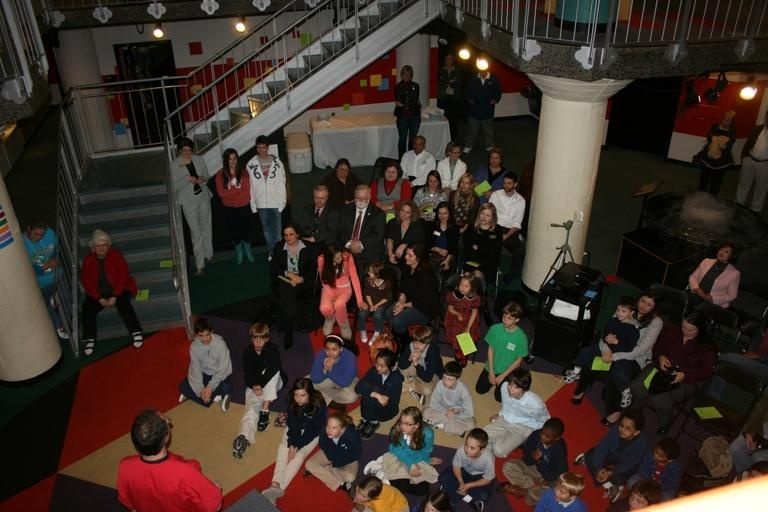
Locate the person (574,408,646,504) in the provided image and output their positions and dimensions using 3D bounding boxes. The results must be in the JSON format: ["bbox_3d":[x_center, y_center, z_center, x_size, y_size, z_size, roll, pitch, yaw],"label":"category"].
[{"bbox_3d":[3.204,2.691,7.686,0.821,1.171,0.833,-20,33,-37],"label":"person"}]

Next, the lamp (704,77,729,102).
[{"bbox_3d":[7.584,-3.781,12.397,0.331,0.545,0.611,16,28,33],"label":"lamp"}]

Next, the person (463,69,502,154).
[{"bbox_3d":[2.678,-3.938,14.822,0.867,2.199,0.523,2,22,5],"label":"person"}]

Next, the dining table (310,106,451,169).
[{"bbox_3d":[-0.240,-3.077,14.968,2.961,0.984,1.810,-8,41,-8],"label":"dining table"}]

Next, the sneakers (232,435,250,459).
[{"bbox_3d":[-2.163,2.884,8.172,0.176,0.364,0.173,19,62,-9],"label":"sneakers"}]

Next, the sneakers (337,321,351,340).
[{"bbox_3d":[-0.679,1.335,9.703,0.140,0.172,0.437,-20,54,-8],"label":"sneakers"}]

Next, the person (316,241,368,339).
[{"bbox_3d":[-0.760,0.607,9.597,0.761,1.449,1.153,-6,39,-8],"label":"person"}]

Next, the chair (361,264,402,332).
[{"bbox_3d":[-0.022,0.745,9.558,0.541,1.280,0.770,10,51,6],"label":"chair"}]

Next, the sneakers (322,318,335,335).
[{"bbox_3d":[-0.999,1.273,9.771,0.155,0.363,0.139,6,-17,5],"label":"sneakers"}]

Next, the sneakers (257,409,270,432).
[{"bbox_3d":[-1.892,2.571,8.563,0.127,0.140,0.361,5,50,-1],"label":"sneakers"}]

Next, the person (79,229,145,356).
[{"bbox_3d":[-4.996,0.660,9.725,1.022,2.097,0.855,-8,24,-19],"label":"person"}]

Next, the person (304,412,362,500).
[{"bbox_3d":[-0.686,2.704,7.725,0.717,1.075,0.762,17,37,16],"label":"person"}]

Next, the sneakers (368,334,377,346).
[{"bbox_3d":[-0.200,1.533,9.770,0.089,0.286,0.110,20,-15,5],"label":"sneakers"}]

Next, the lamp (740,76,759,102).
[{"bbox_3d":[8.594,-3.974,12.779,0.327,0.477,0.797,14,46,18],"label":"lamp"}]

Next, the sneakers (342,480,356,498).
[{"bbox_3d":[-0.493,3.317,7.698,0.062,0.154,0.216,21,46,-56],"label":"sneakers"}]

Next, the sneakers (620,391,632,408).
[{"bbox_3d":[3.763,2.232,8.451,0.087,0.155,0.259,3,52,46],"label":"sneakers"}]

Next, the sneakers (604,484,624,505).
[{"bbox_3d":[3.237,3.325,7.637,0.182,0.331,0.192,8,-11,35],"label":"sneakers"}]

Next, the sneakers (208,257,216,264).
[{"bbox_3d":[-3.744,0.104,11.769,0.115,0.130,0.091,-3,10,-1],"label":"sneakers"}]

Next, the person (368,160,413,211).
[{"bbox_3d":[0.176,-1.464,11.429,0.738,1.569,0.884,8,45,6],"label":"person"}]

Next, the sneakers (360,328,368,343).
[{"bbox_3d":[-0.357,1.459,9.797,0.101,0.109,0.277,-3,58,1],"label":"sneakers"}]

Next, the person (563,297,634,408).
[{"bbox_3d":[3.445,1.608,8.735,0.826,1.507,0.863,-27,43,-29],"label":"person"}]

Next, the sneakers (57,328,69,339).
[{"bbox_3d":[-5.803,1.393,9.806,0.272,0.121,0.102,32,45,31],"label":"sneakers"}]

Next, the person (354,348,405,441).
[{"bbox_3d":[-0.085,2.097,8.381,0.615,1.199,0.840,21,33,35],"label":"person"}]

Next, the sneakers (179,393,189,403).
[{"bbox_3d":[-3.310,2.338,8.986,0.177,0.192,0.103,1,28,-2],"label":"sneakers"}]

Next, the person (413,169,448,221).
[{"bbox_3d":[0.977,-1.155,11.032,0.669,1.071,0.559,6,28,8],"label":"person"}]

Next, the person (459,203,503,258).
[{"bbox_3d":[1.824,-0.452,10.151,0.737,1.097,0.341,5,23,10],"label":"person"}]

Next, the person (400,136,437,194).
[{"bbox_3d":[0.734,-2.021,12.132,0.681,1.235,1.117,8,36,5],"label":"person"}]

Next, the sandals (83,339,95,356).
[{"bbox_3d":[-5.309,1.653,9.780,0.111,0.142,0.390,1,36,-20],"label":"sandals"}]

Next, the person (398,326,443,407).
[{"bbox_3d":[0.508,1.735,8.777,0.808,1.100,0.820,-8,29,-15],"label":"person"}]

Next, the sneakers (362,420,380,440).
[{"bbox_3d":[-0.199,2.663,8.439,0.130,0.153,0.373,15,36,17],"label":"sneakers"}]

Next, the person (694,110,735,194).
[{"bbox_3d":[7.493,-2.313,12.233,0.758,1.901,0.719,15,26,31],"label":"person"}]

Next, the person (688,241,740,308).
[{"bbox_3d":[5.661,0.360,9.343,0.631,1.129,0.750,0,20,-32],"label":"person"}]

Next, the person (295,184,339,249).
[{"bbox_3d":[-1.358,-0.716,10.449,0.946,1.197,0.832,-10,25,-42],"label":"person"}]

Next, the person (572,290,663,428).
[{"bbox_3d":[3.682,1.698,8.541,1.062,1.790,0.934,-25,41,-20],"label":"person"}]

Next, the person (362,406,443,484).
[{"bbox_3d":[0.270,2.718,7.651,1.076,1.080,0.816,-4,27,-10],"label":"person"}]

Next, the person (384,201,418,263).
[{"bbox_3d":[0.343,-0.368,10.197,0.599,1.307,0.712,11,15,1],"label":"person"}]

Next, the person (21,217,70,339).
[{"bbox_3d":[-6.091,0.453,9.945,0.493,2.068,1.310,-15,27,-32],"label":"person"}]

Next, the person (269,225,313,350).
[{"bbox_3d":[-1.602,0.505,9.830,0.838,2.070,0.907,-5,23,-12],"label":"person"}]

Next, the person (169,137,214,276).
[{"bbox_3d":[-3.884,-1.007,11.146,0.717,2.708,0.576,-7,23,-18],"label":"person"}]

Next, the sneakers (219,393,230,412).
[{"bbox_3d":[-2.586,2.392,8.819,0.116,0.130,0.285,-10,19,1],"label":"sneakers"}]

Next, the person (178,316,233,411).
[{"bbox_3d":[-2.766,1.692,8.640,0.745,1.286,0.823,5,21,6],"label":"person"}]

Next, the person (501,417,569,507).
[{"bbox_3d":[2.107,2.903,7.553,0.670,0.979,0.690,-12,42,-24],"label":"person"}]

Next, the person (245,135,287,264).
[{"bbox_3d":[-2.415,-1.221,11.262,0.739,2.439,0.412,-1,22,-4],"label":"person"}]

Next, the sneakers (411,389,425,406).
[{"bbox_3d":[0.563,2.316,8.838,0.115,0.101,0.292,4,38,-26],"label":"sneakers"}]

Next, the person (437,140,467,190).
[{"bbox_3d":[1.450,-1.793,11.736,0.587,1.303,0.658,7,25,13],"label":"person"}]

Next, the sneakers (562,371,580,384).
[{"bbox_3d":[3.133,2.048,9.088,0.324,0.133,0.145,-8,-9,0],"label":"sneakers"}]

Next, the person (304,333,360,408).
[{"bbox_3d":[-0.769,1.846,8.766,0.825,1.233,0.678,8,22,20],"label":"person"}]

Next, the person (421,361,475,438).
[{"bbox_3d":[1.023,2.119,8.285,0.758,1.008,0.599,15,32,26],"label":"person"}]
